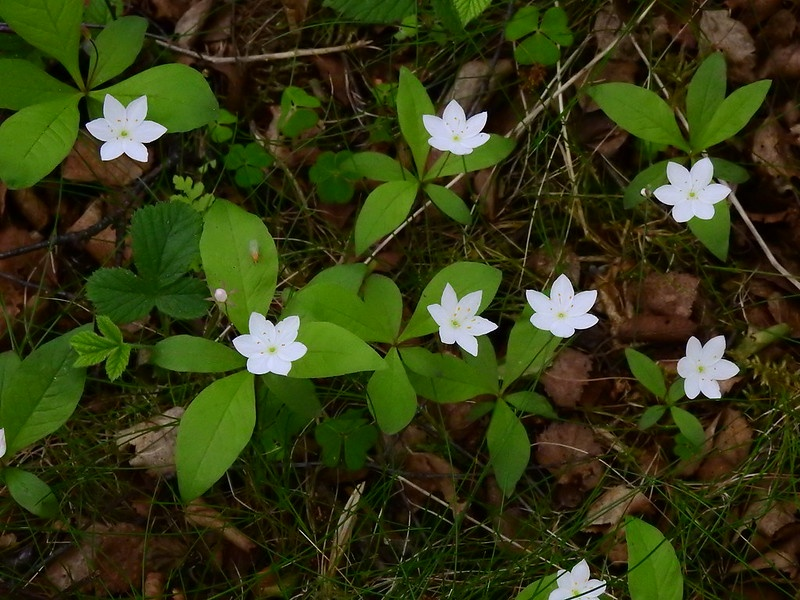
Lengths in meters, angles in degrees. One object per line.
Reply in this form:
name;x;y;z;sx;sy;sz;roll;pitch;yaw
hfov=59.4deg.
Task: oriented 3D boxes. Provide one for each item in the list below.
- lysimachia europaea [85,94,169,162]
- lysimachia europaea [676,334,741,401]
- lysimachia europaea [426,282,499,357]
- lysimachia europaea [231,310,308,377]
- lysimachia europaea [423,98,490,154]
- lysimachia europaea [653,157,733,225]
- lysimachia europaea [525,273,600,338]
lysimachia europaea;-1.537;-0.942;3.914;0.338;0.393;0.164;-17;69;-1
lysimachia europaea;1.729;0.334;3.983;0.309;0.163;0.313;5;23;24
lysimachia europaea;0.313;0.115;3.726;0.346;0.237;0.368;-3;70;-8
lysimachia europaea;-0.647;0.233;3.503;0.358;0.187;0.288;5;69;-5
lysimachia europaea;0.305;-0.933;3.835;0.333;0.120;0.317;-11;72;-11
lysimachia europaea;1.630;-0.620;3.947;0.328;0.155;0.368;-40;79;-19
lysimachia europaea;0.871;0.055;3.798;0.288;0.136;0.390;2;80;16
